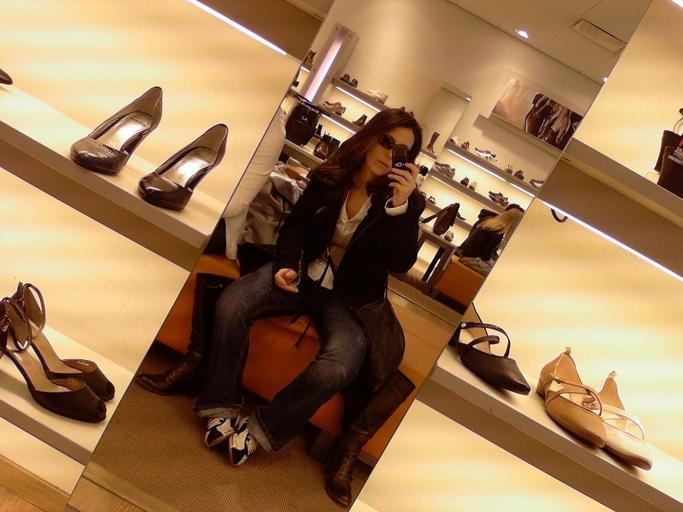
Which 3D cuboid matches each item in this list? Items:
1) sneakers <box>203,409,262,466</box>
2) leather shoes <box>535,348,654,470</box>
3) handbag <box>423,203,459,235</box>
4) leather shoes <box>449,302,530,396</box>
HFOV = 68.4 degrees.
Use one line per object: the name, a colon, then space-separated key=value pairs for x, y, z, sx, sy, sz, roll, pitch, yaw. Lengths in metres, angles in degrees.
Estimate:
sneakers: x=-0.361 y=0.599 z=1.728 sx=0.066 sy=0.187 sz=0.139 roll=7 pitch=-39 yaw=16
leather shoes: x=0.782 y=0.480 z=1.707 sx=0.291 sy=0.168 sz=0.430 roll=33 pitch=3 yaw=-16
handbag: x=0.332 y=-0.123 z=1.640 sx=0.086 sy=0.106 sz=0.040 roll=42 pitch=28 yaw=7
leather shoes: x=0.443 y=0.287 z=1.702 sx=0.152 sy=0.158 sz=0.402 roll=9 pitch=23 yaw=-38
